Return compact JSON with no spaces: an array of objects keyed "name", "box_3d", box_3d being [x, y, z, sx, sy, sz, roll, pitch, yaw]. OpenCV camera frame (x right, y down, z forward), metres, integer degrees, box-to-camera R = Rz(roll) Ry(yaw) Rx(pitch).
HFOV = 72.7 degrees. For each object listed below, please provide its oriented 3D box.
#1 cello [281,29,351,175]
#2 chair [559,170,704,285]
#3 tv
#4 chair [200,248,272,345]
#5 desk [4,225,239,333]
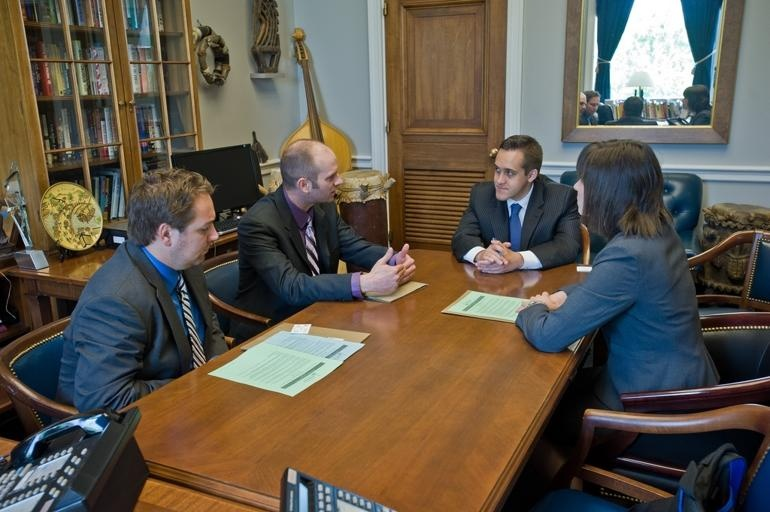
[{"name":"cello","box_3d":[-0.655,-1.421,5.285,0.610,1.615,0.238,-11,5,-17]},{"name":"chair","box_3d":[2.010,-0.429,4.374,1.025,1.299,1.011,2,8,20]},{"name":"tv","box_3d":[-1.070,-0.495,3.361,0.165,0.488,0.650,4,16,34]},{"name":"chair","box_3d":[-0.769,0.223,2.726,0.355,0.554,0.329,10,20,42]},{"name":"desk","box_3d":[-1.908,0.115,3.319,0.714,0.496,0.961,9,21,22]}]
